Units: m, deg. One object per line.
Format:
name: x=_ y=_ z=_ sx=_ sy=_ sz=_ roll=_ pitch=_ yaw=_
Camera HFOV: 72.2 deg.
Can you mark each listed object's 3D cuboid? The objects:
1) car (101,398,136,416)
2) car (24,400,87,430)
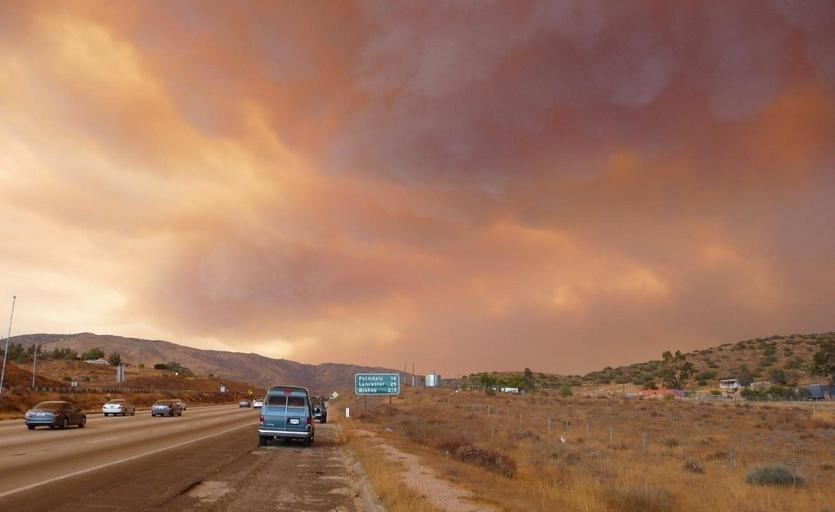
car: x=-35.854 y=18.329 z=68.919 sx=2.873 sy=1.740 sz=3.425 roll=1 pitch=-11 yaw=-20
car: x=-29.980 y=13.310 z=47.763 sx=2.537 sy=2.311 sz=4.065 roll=-6 pitch=-11 yaw=17
